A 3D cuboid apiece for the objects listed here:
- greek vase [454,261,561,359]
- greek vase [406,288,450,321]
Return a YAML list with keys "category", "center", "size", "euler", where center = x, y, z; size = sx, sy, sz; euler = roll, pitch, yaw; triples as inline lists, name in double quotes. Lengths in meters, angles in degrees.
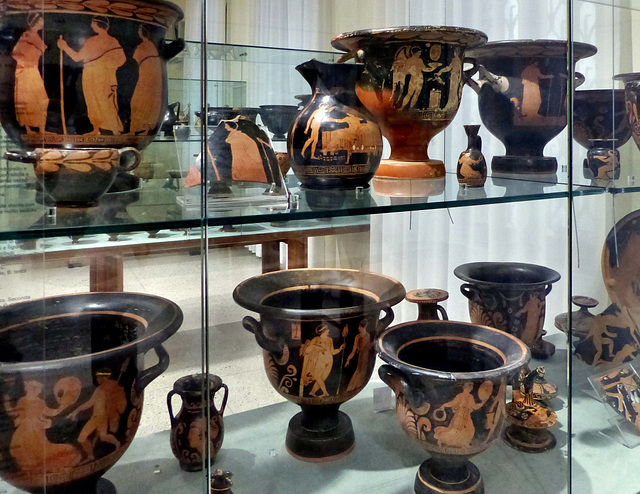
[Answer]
- category: "greek vase"
  center: [0.305, 0.088, 1.018]
  size: [0.161, 0.125, 0.162]
  euler: [-4, 5, -38]
- category: "greek vase"
  center: [0.176, 0.080, 0.962]
  size: [0.057, 0.059, 0.059]
  euler: [5, 14, 31]
